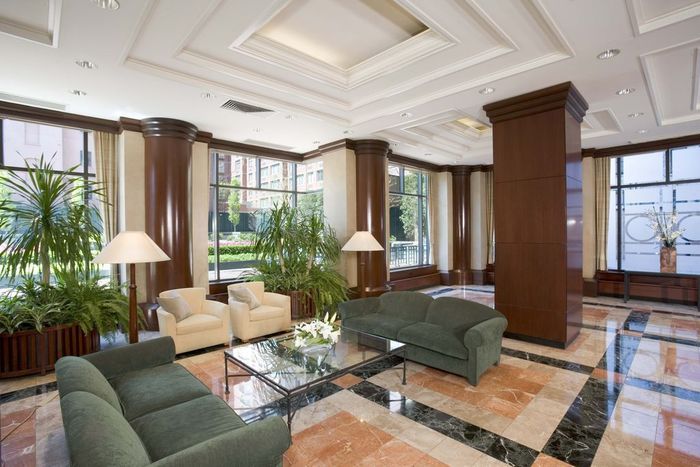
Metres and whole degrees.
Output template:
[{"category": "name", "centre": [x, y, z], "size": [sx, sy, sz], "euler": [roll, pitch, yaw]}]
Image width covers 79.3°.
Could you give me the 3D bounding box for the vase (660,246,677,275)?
[{"category": "vase", "centre": [6.926, 0.608, 9.224], "size": [0.273, 0.573, 0.394], "euler": [-1, 2, 35]}]

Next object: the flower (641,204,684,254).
[{"category": "flower", "centre": [7.163, -0.047, 9.881], "size": [0.845, 0.995, 0.733], "euler": [2, -17, -14]}]

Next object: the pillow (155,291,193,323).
[{"category": "pillow", "centre": [-2.861, 1.211, 6.913], "size": [0.406, 0.594, 0.703], "euler": [6, 22, -27]}]

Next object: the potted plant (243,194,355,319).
[{"category": "potted plant", "centre": [-0.923, 0.606, 9.297], "size": [2.856, 2.953, 2.154], "euler": [1, 3, 3]}]

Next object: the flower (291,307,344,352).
[{"category": "flower", "centre": [-0.464, 1.384, 5.991], "size": [0.551, 0.288, 0.509], "euler": [1, -4, -19]}]

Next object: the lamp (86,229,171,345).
[{"category": "lamp", "centre": [-2.923, 0.753, 5.519], "size": [0.877, 1.400, 0.704], "euler": [-1, 2, 40]}]

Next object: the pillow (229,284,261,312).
[{"category": "pillow", "centre": [-1.865, 1.135, 7.393], "size": [0.353, 0.341, 0.500], "euler": [-4, 1, -45]}]

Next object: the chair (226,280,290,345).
[{"category": "chair", "centre": [-1.709, 1.395, 7.533], "size": [0.992, 0.924, 1.079], "euler": [-2, 0, 23]}]

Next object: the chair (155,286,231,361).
[{"category": "chair", "centre": [-2.535, 1.433, 6.896], "size": [1.103, 1.042, 1.010], "euler": [2, -5, -41]}]
